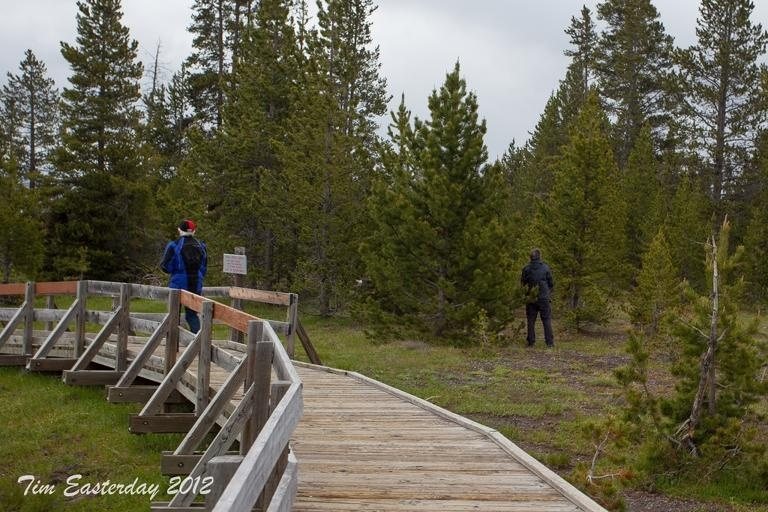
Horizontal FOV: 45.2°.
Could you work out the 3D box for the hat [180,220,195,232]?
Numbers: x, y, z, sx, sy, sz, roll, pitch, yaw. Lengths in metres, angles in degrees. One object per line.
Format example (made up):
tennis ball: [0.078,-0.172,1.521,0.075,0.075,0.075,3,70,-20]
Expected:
hat: [-6.923,-1.011,32.077,0.488,0.405,0.370,8,-2,-20]
